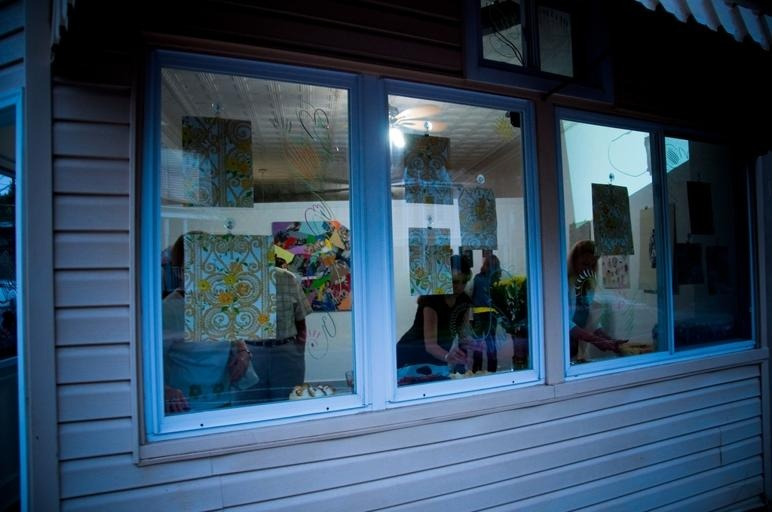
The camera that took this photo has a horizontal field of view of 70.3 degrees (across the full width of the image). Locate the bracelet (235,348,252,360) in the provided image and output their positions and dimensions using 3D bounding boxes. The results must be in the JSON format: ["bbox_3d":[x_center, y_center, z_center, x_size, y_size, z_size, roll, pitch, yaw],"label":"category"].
[{"bbox_3d":[-0.885,0.618,3.430,0.067,0.072,0.071,-4,-9,21],"label":"bracelet"}]

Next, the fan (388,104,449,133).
[{"bbox_3d":[0.216,-0.922,3.717,0.227,0.064,0.233,19,31,34],"label":"fan"}]
